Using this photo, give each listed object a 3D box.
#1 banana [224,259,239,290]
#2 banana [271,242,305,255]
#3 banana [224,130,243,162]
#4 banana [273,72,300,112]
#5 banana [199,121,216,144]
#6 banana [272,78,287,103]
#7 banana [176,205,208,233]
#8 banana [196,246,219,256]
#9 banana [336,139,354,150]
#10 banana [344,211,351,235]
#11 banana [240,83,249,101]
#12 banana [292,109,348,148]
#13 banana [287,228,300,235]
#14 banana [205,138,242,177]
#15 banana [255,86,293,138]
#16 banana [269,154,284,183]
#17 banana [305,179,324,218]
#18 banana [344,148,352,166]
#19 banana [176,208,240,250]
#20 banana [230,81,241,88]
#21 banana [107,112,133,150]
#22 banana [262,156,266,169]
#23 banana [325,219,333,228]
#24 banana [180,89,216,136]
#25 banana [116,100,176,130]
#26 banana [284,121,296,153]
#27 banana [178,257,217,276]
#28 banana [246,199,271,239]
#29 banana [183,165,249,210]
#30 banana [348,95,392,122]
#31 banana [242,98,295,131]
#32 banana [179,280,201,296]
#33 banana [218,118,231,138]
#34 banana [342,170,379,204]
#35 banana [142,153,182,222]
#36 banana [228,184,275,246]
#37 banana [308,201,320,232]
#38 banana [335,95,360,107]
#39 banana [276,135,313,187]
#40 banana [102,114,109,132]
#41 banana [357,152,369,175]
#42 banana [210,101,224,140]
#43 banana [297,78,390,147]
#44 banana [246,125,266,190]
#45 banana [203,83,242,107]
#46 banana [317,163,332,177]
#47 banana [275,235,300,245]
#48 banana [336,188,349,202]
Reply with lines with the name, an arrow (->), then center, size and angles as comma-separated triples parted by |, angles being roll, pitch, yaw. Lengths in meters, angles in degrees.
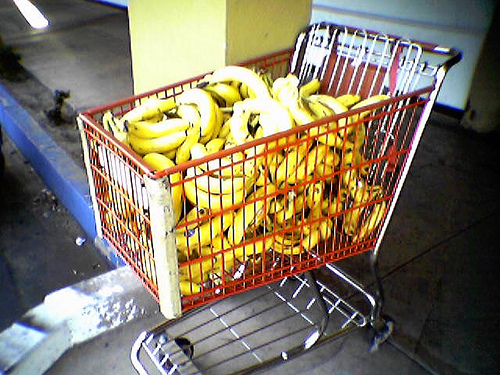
banana -> -0.089, 0.415, 2.343 | 0.083, 0.156, 0.141 | -1, -2, 5
banana -> 0.171, 0.285, 2.274 | 0.099, 0.045, 0.078 | -1, 5, -29
banana -> -0.080, -0.188, 2.129 | 0.090, 0.146, 0.045 | -1, 5, 39
banana -> 0.165, -0.428, 2.154 | 0.109, 0.180, 0.057 | 5, 6, 23
banana -> -0.197, -0.220, 2.186 | 0.028, 0.154, 0.045 | 10, 3, -39
banana -> 0.135, -0.444, 2.195 | 0.032, 0.110, 0.072 | 3, 4, -31
banana -> -0.249, 0.141, 2.050 | 0.121, 0.040, 0.033 | -47, 22, -2
banana -> -0.199, 0.287, 2.160 | 0.081, 0.052, 0.032 | -8, -2, 1
banana -> 0.438, -0.191, 2.169 | 0.055, 0.059, 0.037 | 0, 23, -13
banana -> 0.490, 0.178, 2.393 | 0.022, 0.129, 0.030 | -2, -20, 32
banana -> -0.032, -0.473, 2.366 | 0.025, 0.101, 0.025 | -3, 3, -38
banana -> 0.307, -0.252, 2.088 | 0.201, 0.044, 0.069 | 37, 52, 14
banana -> 0.205, 0.200, 2.202 | 0.031, 0.039, 0.021 | 3, 1, -20
banana -> -0.125, -0.147, 2.027 | 0.106, 0.086, 0.193 | -9, 54, -8
banana -> 0.116, -0.324, 2.136 | 0.115, 0.251, 0.056 | -9, 12, 20
banana -> 0.116, -0.088, 2.089 | 0.046, 0.161, 0.034 | 14, -12, -24
banana -> 0.316, 0.034, 2.201 | 0.086, 0.073, 0.172 | 6, 41, 35
banana -> 0.463, -0.143, 2.226 | 0.058, 0.068, 0.035 | 5, -1, -42
banana -> -0.177, 0.141, 2.205 | 0.345, 0.074, 0.127 | -3, 55, 55
banana -> -0.076, -0.509, 2.357 | 0.032, 0.039, 0.022 | 4, 5, 29
banana -> -0.582, -0.235, 2.094 | 0.065, 0.136, 0.163 | -27, 49, -29
banana -> 0.062, -0.109, 2.075 | 0.008, 0.046, 0.012 | 5, 7, 4
banana -> 0.391, 0.176, 2.330 | 0.027, 0.037, 0.039 | -6, 33, 8
banana -> -0.270, -0.288, 2.245 | 0.068, 0.218, 0.238 | 13, 32, -17
banana -> -0.453, -0.330, 2.205 | 0.245, 0.086, 0.074 | -29, -1, -8
banana -> 0.186, -0.214, 2.082 | 0.031, 0.159, 0.048 | 16, 3, 33
banana -> -0.243, 0.349, 2.123 | 0.132, 0.051, 0.029 | -23, 41, -17
banana -> 0.033, 0.136, 2.114 | 0.027, 0.177, 0.045 | 24, 19, 0
banana -> -0.148, -0.011, 2.056 | 0.274, 0.264, 0.238 | 6, 9, 2
banana -> 0.551, -0.359, 2.175 | 0.224, 0.052, 0.062 | -33, 10, -19
banana -> 0.085, -0.331, 2.115 | 0.238, 0.091, 0.076 | 18, 44, 17
banana -> -0.277, 0.455, 2.140 | 0.078, 0.061, 0.028 | 12, -5, -8
banana -> -0.120, -0.266, 2.234 | 0.028, 0.118, 0.035 | 27, 5, 38
banana -> 0.518, 0.001, 2.251 | 0.107, 0.091, 0.185 | -20, 51, -23
banana -> -0.364, -0.006, 2.034 | 0.086, 0.292, 0.203 | -4, -2, 10
banana -> 0.044, 0.099, 2.249 | 0.110, 0.137, 0.415 | -33, 2, 20
banana -> 0.298, 0.136, 2.217 | 0.031, 0.130, 0.041 | 23, 7, -18
banana -> 0.491, -0.426, 2.350 | 0.103, 0.039, 0.061 | -8, 64, -1
banana -> 0.193, -0.115, 2.074 | 0.039, 0.213, 0.065 | 27, 4, -5
banana -> -0.638, -0.283, 2.092 | 0.027, 0.096, 0.021 | 5, 18, 8
banana -> 0.545, -0.112, 2.285 | 0.061, 0.102, 0.027 | -10, 6, -18
banana -> -0.148, -0.306, 2.228 | 0.031, 0.138, 0.094 | -8, 14, -22
banana -> 0.441, -0.353, 2.199 | 0.406, 0.170, 0.236 | -14, 45, -27
banana -> 0.026, -0.120, 2.093 | 0.060, 0.311, 0.089 | 13, 7, 2
banana -> -0.123, -0.438, 2.347 | 0.211, 0.090, 0.070 | 16, 7, -1
banana -> 0.344, -0.081, 2.185 | 0.042, 0.064, 0.030 | -3, 36, 2
banana -> 0.180, 0.252, 2.258 | 0.121, 0.083, 0.025 | -5, 39, -6
banana -> 0.450, 0.037, 2.281 | 0.029, 0.059, 0.054 | 1, -18, -1
